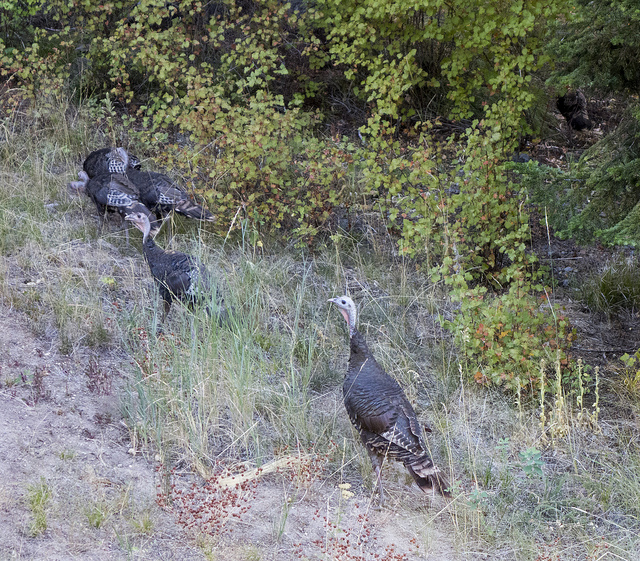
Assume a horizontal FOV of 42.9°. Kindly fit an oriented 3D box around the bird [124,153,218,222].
[{"bbox_3d":[-1.881,-1.020,9.198,0.924,0.737,0.352,5,9,-7],"label":"bird"}]

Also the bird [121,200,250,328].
[{"bbox_3d":[-1.367,-0.106,7.964,1.190,1.099,0.412,10,24,31],"label":"bird"}]
